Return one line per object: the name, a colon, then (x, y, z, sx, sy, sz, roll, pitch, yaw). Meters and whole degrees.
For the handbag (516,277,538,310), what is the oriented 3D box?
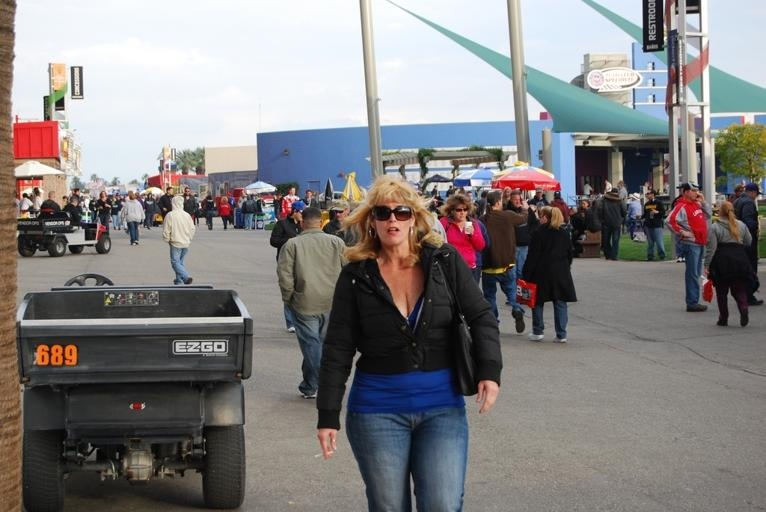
handbag: (2.215, 0.572, 13.129, 0.086, 0.404, 0.409, -14, -13, -31)

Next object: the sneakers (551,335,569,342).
sneakers: (2.673, 1.243, 12.904, 0.212, 0.119, 0.219, 2, 7, 25)

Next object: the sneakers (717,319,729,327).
sneakers: (5.416, 1.078, 13.615, 0.161, 0.127, 0.085, 4, -2, -5)

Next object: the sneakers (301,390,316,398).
sneakers: (-0.862, 1.623, 9.992, 0.092, 0.121, 0.267, 2, -11, -11)

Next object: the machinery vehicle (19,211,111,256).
machinery vehicle: (-9.654, -0.613, 25.776, 1.268, 1.060, 2.079, 3, 7, 33)

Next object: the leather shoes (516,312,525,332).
leather shoes: (2.182, 1.085, 13.690, 0.118, 0.386, 0.242, -1, -6, -1)

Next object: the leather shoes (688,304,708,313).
leather shoes: (5.541, 0.918, 15.014, 0.340, 0.159, 0.148, -3, 11, -14)

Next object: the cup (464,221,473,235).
cup: (1.341, -0.453, 13.551, 0.102, 0.186, 0.173, 0, -7, -2)

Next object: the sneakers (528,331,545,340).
sneakers: (2.371, 1.236, 13.168, 0.221, 0.116, 0.193, 0, 6, 8)

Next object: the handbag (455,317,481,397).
handbag: (0.542, 0.666, 5.495, 0.135, 0.555, 0.387, -9, 10, 3)

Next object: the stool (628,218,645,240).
stool: (8.810, -0.927, 29.683, 0.547, 0.964, 0.506, -10, -17, 39)

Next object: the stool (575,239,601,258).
stool: (5.897, -0.222, 24.425, 0.494, 0.406, 0.504, -1, 2, -30)
